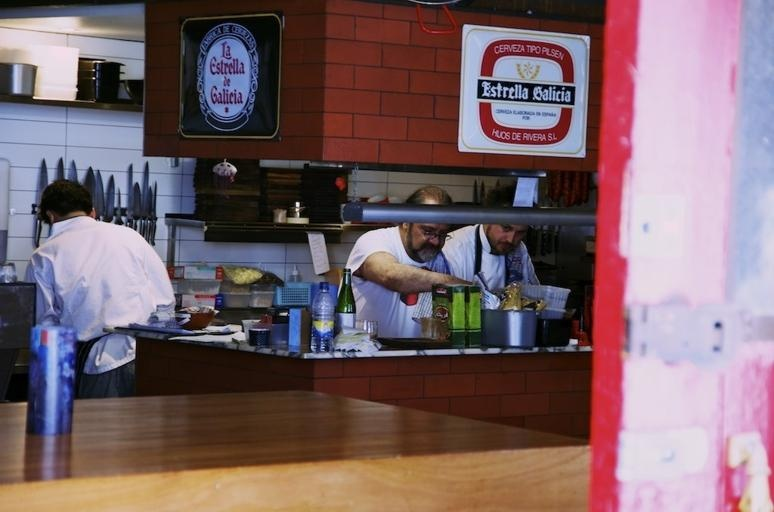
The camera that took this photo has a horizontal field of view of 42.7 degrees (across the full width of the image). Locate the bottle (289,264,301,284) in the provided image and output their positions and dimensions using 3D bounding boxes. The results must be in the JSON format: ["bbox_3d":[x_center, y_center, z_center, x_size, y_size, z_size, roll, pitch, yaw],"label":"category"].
[{"bbox_3d":[-0.714,0.131,7.739,0.099,0.121,0.153,2,5,-22],"label":"bottle"}]

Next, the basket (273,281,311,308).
[{"bbox_3d":[-0.514,0.210,5.416,0.205,0.124,0.042,1,5,-32],"label":"basket"}]

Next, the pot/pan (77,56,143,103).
[{"bbox_3d":[-2.049,-1.288,7.350,0.466,0.319,0.203,2,4,-12],"label":"pot/pan"}]

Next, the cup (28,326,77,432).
[{"bbox_3d":[-0.938,0.347,2.761,0.124,0.307,0.075,2,4,-13],"label":"cup"}]

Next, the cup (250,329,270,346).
[{"bbox_3d":[-0.628,0.400,4.889,0.086,0.063,0.082,1,-1,0],"label":"cup"}]

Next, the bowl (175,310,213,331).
[{"bbox_3d":[-1.054,0.336,5.397,0.187,0.103,0.301,3,4,-1],"label":"bowl"}]

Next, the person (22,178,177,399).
[{"bbox_3d":[-1.569,0.186,5.415,0.757,1.160,0.376,2,4,-14],"label":"person"}]

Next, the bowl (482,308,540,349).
[{"bbox_3d":[0.608,0.378,5.022,0.221,0.137,0.222,1,-6,0],"label":"bowl"}]

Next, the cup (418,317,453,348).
[{"bbox_3d":[0.242,0.386,5.053,0.140,0.113,0.134,0,-2,0],"label":"cup"}]
